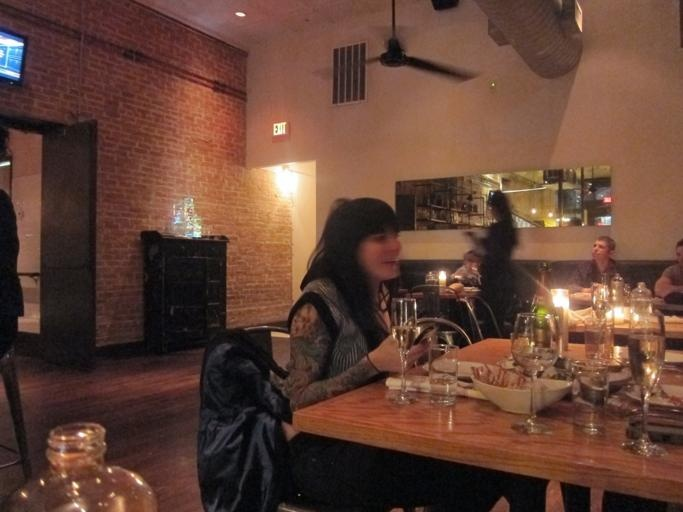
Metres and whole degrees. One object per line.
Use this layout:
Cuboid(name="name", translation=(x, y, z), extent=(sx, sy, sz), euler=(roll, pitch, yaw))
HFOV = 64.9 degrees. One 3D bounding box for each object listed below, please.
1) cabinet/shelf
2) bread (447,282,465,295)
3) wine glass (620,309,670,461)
Cuboid(name="cabinet/shelf", translation=(-2.036, 0.444, 6.948), extent=(1.043, 1.496, 0.558), euler=(1, 1, -21))
Cuboid(name="bread", translation=(1.124, 0.314, 5.271), extent=(0.137, 0.084, 0.181), euler=(2, 11, 20))
Cuboid(name="wine glass", translation=(0.830, 0.328, 1.463), extent=(0.096, 0.348, 0.280), euler=(2, 1, 31))
